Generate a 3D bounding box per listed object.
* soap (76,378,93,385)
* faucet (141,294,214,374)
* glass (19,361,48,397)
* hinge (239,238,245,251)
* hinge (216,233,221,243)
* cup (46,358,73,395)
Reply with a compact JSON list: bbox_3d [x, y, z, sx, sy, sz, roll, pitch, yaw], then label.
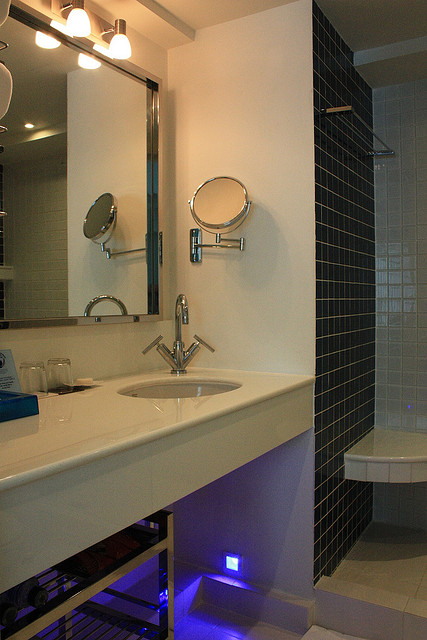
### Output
[{"bbox_3d":[-0.384,0.185,1.435,0.045,0.015,0.039,8,-4,-20],"label":"soap"},{"bbox_3d":[-0.119,0.057,1.742,0.243,0.308,0.129,0,4,-18],"label":"faucet"},{"bbox_3d":[-0.451,0.148,1.210,0.067,0.101,0.092,0,-4,-17],"label":"glass"},{"bbox_3d":[0.104,-0.283,1.826,0.018,0.047,0.043,5,-3,4],"label":"hinge"},{"bbox_3d":[0.016,-0.312,1.860,0.019,0.023,0.032,6,-3,1],"label":"hinge"},{"bbox_3d":[-0.414,0.155,1.293,0.058,0.089,0.085,1,-3,-23],"label":"cup"}]
